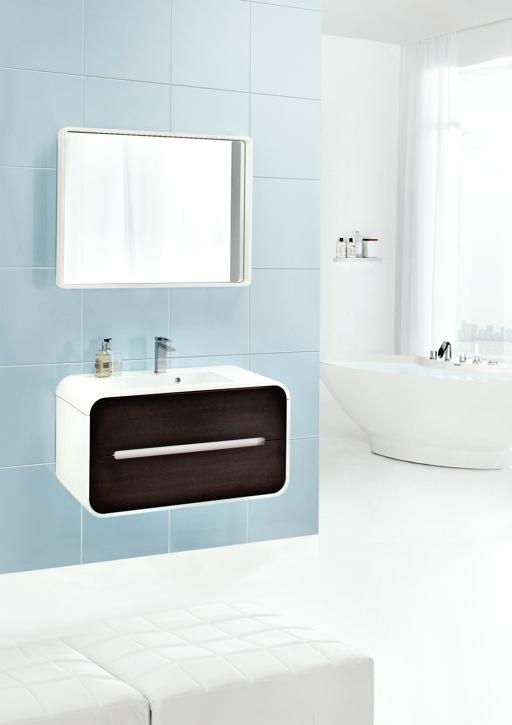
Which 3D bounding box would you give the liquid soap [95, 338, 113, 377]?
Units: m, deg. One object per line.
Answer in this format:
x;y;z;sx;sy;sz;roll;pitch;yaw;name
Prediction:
-0.597;-0.024;2.471;0.055;0.149;0.108;1;2;21;liquid soap

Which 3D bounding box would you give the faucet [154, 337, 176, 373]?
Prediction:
-0.379;-0.031;2.530;0.071;0.148;0.218;0;2;-9;faucet

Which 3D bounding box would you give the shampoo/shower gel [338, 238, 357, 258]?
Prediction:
0.766;-0.966;5.196;0.175;0.192;0.112;0;2;-2;shampoo/shower gel

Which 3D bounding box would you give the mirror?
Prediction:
-0.438;-0.634;2.490;0.555;0.530;0.065;-2;6;-24;mirror

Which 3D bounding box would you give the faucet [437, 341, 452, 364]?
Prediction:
1.519;-0.090;4.952;0.120;0.239;0.129;2;-1;-25;faucet
